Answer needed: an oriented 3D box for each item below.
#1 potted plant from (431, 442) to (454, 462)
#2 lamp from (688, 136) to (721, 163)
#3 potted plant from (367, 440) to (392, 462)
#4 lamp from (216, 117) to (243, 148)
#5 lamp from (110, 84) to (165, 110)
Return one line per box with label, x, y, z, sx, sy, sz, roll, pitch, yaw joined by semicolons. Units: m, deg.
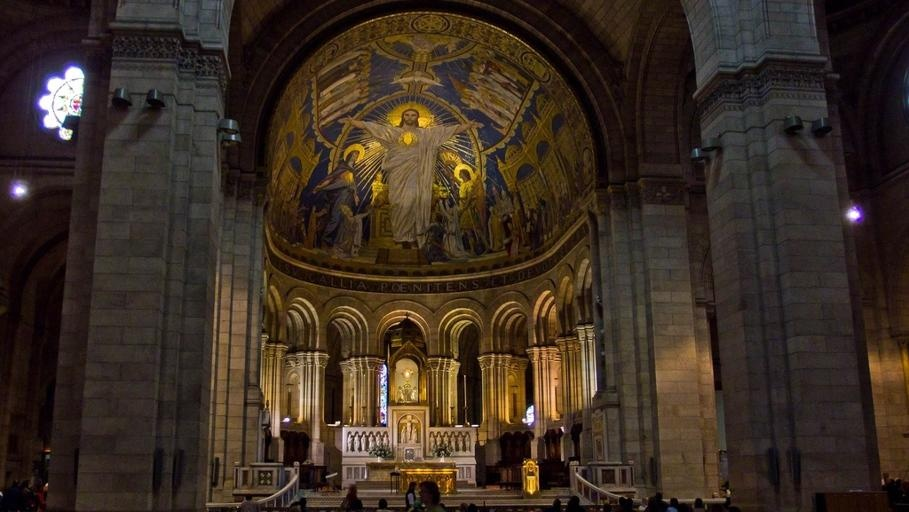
potted plant;-0.534;9.234;45.026;0.974;0.987;0.970;-11;-18;41
lamp;8.137;-3.548;31.028;0.590;0.691;1.263;7;-22;-18
potted plant;-3.558;9.398;45.748;0.897;0.901;0.874;-8;-14;32
lamp;-7.072;-3.931;30.045;0.598;0.685;0.981;1;-21;-5
lamp;-9.440;-4.748;28.772;1.097;0.331;0.790;-1;-4;-6
